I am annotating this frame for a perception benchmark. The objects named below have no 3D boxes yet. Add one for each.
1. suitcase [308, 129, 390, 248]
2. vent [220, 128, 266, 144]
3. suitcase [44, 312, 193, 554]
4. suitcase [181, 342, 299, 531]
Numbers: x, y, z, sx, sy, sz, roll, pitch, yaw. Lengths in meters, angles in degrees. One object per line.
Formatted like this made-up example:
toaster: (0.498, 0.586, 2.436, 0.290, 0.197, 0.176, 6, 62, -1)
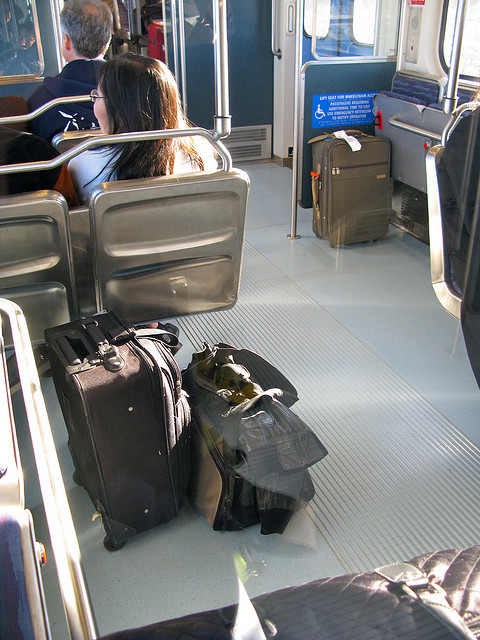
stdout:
suitcase: (0.813, -1.024, 3.469, 0.508, 0.815, 0.513, -9, 23, -6)
vent: (0.051, -2.101, 5.119, 0.512, 0.117, 0.224, -9, -11, -4)
suitcase: (-0.391, 0.339, 1.521, 0.365, 0.658, 0.480, -15, 26, -27)
suitcase: (0.057, 0.379, 1.693, 0.382, 0.572, 0.574, -12, 46, -22)
